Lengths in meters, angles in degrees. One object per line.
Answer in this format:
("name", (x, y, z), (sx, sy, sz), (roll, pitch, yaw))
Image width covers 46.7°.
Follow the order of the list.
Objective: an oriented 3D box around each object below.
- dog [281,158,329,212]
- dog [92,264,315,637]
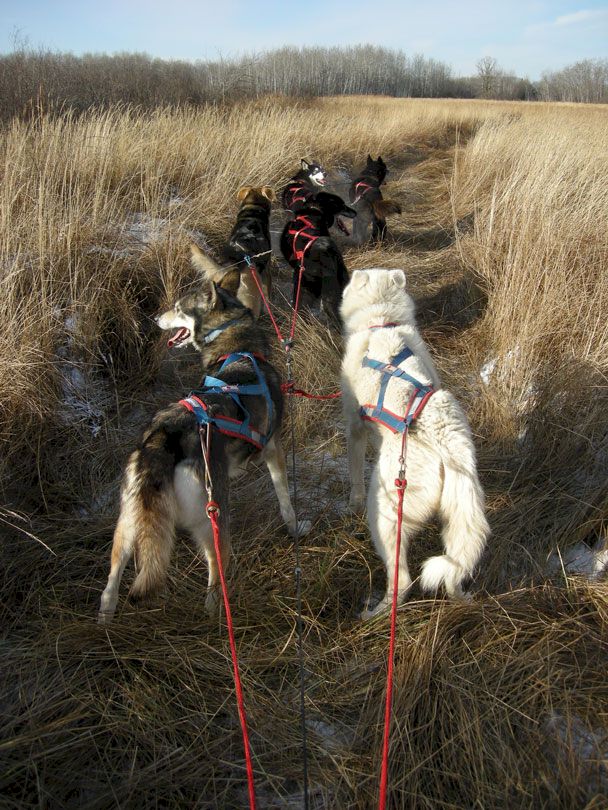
("dog", (-0.016, -2.658, 8.770), (0.287, 0.561, 0.836), (-10, 0, -42))
("dog", (-0.422, 0.272, 3.419), (0.862, 1.235, 1.782), (0, 28, 0))
